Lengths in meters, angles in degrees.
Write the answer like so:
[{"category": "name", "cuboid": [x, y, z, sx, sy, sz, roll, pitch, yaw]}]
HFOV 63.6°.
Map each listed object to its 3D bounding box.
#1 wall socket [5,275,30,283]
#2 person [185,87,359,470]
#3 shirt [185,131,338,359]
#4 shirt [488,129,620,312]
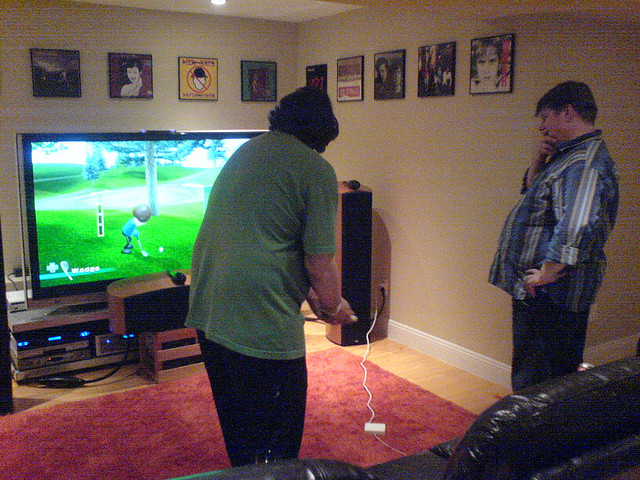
[{"category": "wall socket", "cuboid": [-1.687, 0.216, 2.927, 0.153, 0.025, 0.074, -2, 7, -26]}, {"category": "person", "cuboid": [-0.134, 0.145, 1.628, 0.478, 1.225, 0.277, -9, 18, -30]}, {"category": "shirt", "cuboid": [-0.171, 0.024, 1.543, 0.442, 0.674, 0.207, -3, 16, -11]}, {"category": "shirt", "cuboid": [0.984, -0.079, 2.190, 0.192, 0.757, 0.534, -4, 15, -14]}]
